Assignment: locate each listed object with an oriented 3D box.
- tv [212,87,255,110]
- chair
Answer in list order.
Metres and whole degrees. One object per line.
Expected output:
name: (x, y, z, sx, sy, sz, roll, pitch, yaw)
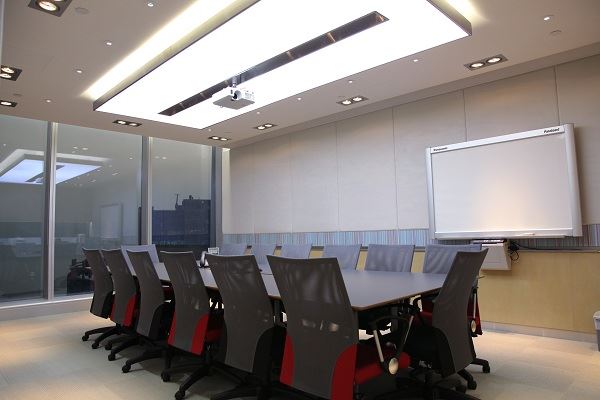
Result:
tv: (-1.117, -1.676, 6.607, 0.421, 0.157, 0.411, 3, -6, -45)
chair: (0.129, 1.392, 5.253, 4.395, 1.777, 2.285, 0, 3, 22)
